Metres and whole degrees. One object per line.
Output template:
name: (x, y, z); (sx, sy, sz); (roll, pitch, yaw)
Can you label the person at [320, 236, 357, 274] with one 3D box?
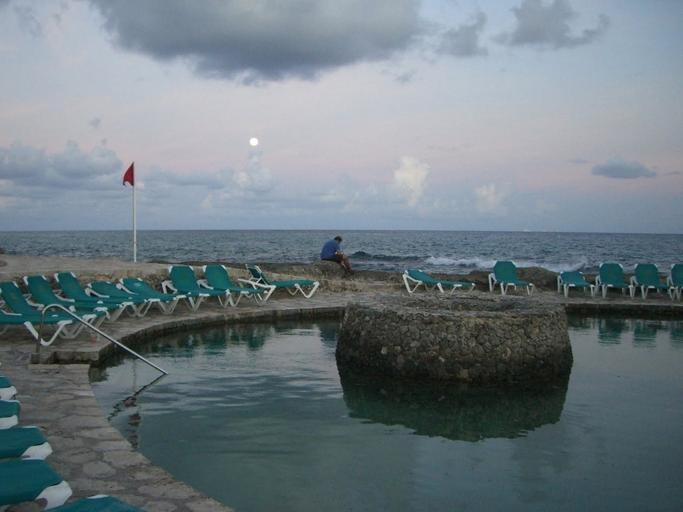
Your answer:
person: (-0.115, -0.038, 21.558); (0.961, 1.135, 1.245); (0, 0, -27)
